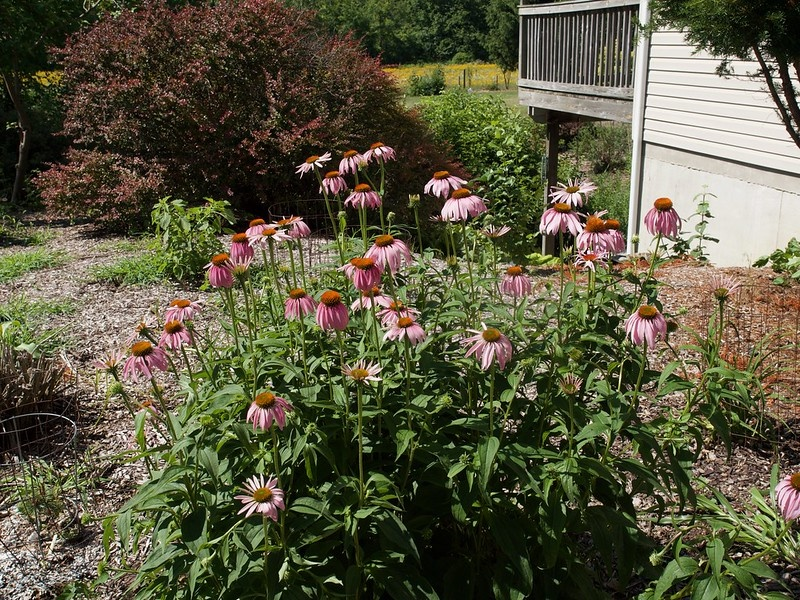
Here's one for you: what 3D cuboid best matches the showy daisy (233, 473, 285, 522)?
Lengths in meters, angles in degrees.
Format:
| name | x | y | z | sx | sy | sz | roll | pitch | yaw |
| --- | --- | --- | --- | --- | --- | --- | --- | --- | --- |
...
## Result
| name | x | y | z | sx | sy | sz | roll | pitch | yaw |
| --- | --- | --- | --- | --- | --- | --- | --- | --- | --- |
| showy daisy | -0.477 | 0.683 | 2.137 | 0.166 | 0.048 | 0.195 | 3 | 26 | 19 |
